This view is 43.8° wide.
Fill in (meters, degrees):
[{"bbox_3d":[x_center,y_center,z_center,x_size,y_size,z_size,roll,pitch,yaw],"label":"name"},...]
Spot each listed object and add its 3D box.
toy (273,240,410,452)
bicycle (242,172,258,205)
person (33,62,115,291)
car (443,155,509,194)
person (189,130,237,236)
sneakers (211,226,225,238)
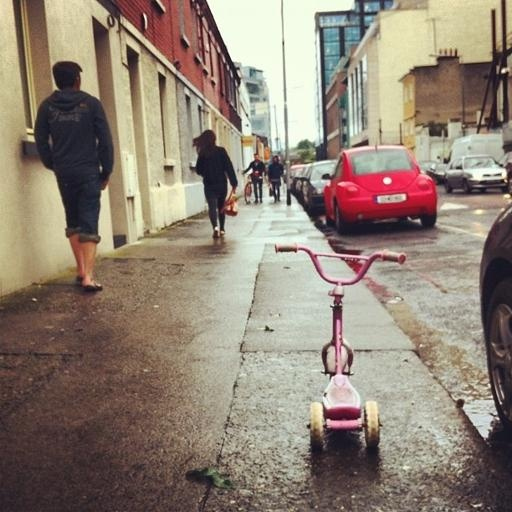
[{"bbox_3d":[0.347,0.393,3.298,0.546,1.012,0.904,0,13,2],"label":"toy"},{"bbox_3d":[-0.328,-3.074,28.746,0.860,1.540,2.120,1,13,2],"label":"bicycle"},{"bbox_3d":[-1.770,-0.795,6.286,0.705,2.221,0.432,1,6,11],"label":"person"},{"bbox_3d":[8.675,-3.239,25.280,1.043,1.316,2.808,-1,5,-1],"label":"car"},{"bbox_3d":[-0.757,-1.360,11.691,0.783,1.965,1.498,-1,7,-6],"label":"person"},{"bbox_3d":[-0.702,-0.441,11.711,0.168,0.287,0.600,0,3,1],"label":"sneakers"}]
